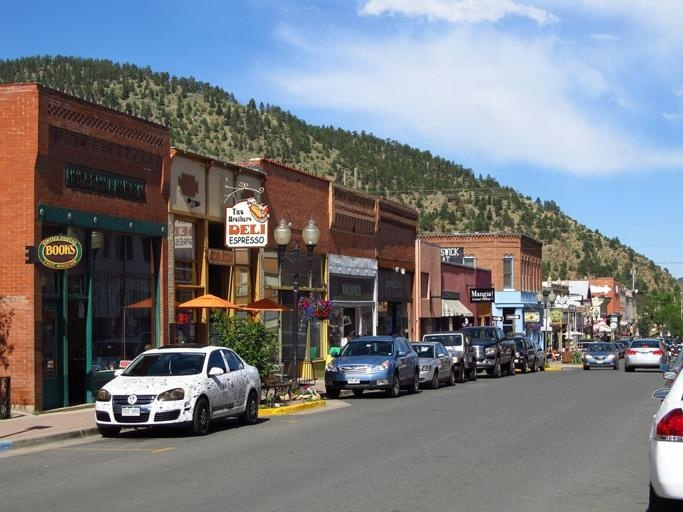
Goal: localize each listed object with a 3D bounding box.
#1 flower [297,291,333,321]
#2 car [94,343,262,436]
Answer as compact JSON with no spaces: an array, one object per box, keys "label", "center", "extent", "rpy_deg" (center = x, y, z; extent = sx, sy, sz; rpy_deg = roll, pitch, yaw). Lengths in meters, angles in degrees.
[{"label":"flower","center":[-0.983,1.846,28.248],"extent":[1.028,0.934,1.041],"rpy_deg":[9,-7,-42]},{"label":"car","center":[-3.584,3.062,18.570],"extent":[2.005,2.007,3.723],"rpy_deg":[-6,-10,33]}]
